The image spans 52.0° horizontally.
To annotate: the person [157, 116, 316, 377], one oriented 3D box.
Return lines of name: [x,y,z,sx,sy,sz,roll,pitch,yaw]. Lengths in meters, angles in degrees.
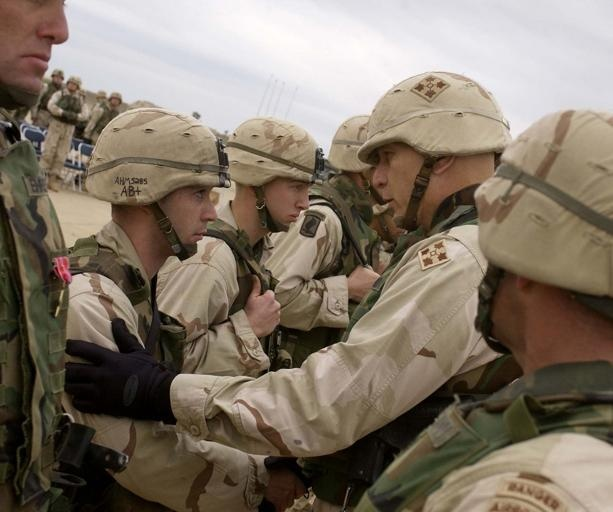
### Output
person: [-0.413,-0.064,3.645,0.774,2.060,1.041,-4,25,-8]

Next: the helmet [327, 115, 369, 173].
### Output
helmet: [0.488,-1.077,5.925,0.535,0.501,0.521,-5,10,-26]

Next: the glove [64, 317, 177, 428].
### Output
glove: [-0.788,0.496,2.604,0.417,0.250,0.134,23,-6,-10]

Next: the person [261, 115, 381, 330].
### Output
person: [0.075,-0.154,4.464,0.580,1.685,0.886,-3,40,-1]
